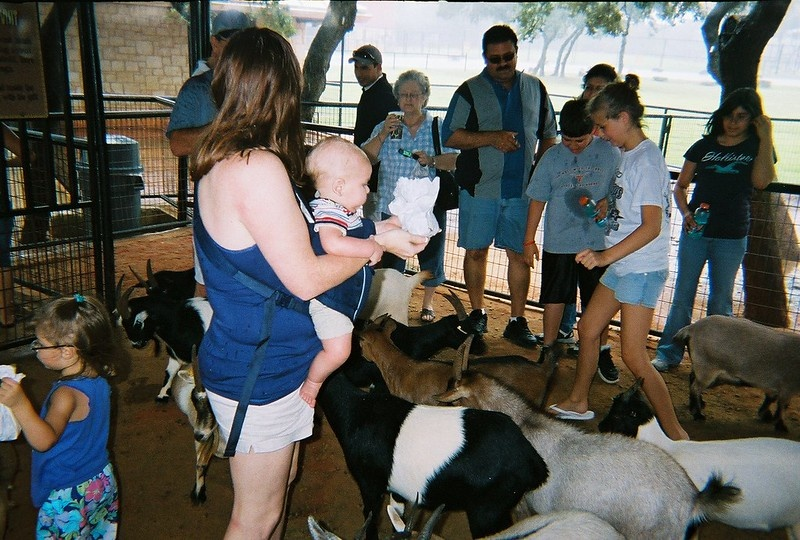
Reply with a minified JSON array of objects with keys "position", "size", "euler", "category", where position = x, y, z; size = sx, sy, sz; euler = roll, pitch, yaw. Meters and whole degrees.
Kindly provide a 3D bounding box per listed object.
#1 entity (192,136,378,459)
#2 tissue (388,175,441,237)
[{"position":[-0.660,0.092,3.750],"size":[1.345,2.261,0.715],"euler":[5,8,-7],"category":"entity"},{"position":[0.100,-0.378,3.517],"size":[0.344,0.358,0.158],"euler":[3,-19,-19],"category":"tissue"}]
